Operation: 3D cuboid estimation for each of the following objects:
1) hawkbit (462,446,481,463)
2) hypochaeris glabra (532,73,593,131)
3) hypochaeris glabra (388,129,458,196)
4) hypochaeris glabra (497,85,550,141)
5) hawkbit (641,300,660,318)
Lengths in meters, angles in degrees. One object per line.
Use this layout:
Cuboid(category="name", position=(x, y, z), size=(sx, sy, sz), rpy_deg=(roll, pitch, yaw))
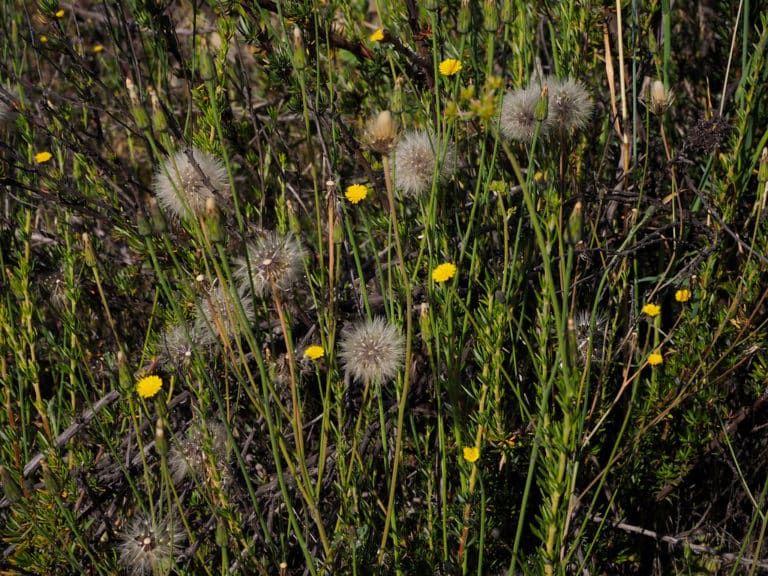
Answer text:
Cuboid(category="hawkbit", position=(0.309, 0.597, 3.109), size=(0.056, 0.076, 0.049), rpy_deg=(-6, 19, -3))
Cuboid(category="hypochaeris glabra", position=(0.698, -0.701, 3.418), size=(0.195, 0.302, 0.115), rpy_deg=(-5, -4, -4))
Cuboid(category="hypochaeris glabra", position=(0.123, -0.505, 3.247), size=(0.196, 0.257, 0.104), rpy_deg=(-23, -16, 6))
Cuboid(category="hypochaeris glabra", position=(0.531, -0.668, 3.406), size=(0.144, 0.209, 0.219), rpy_deg=(2, 22, 17))
Cuboid(category="hawkbit", position=(0.985, 0.083, 3.259), size=(0.052, 0.037, 0.054), rpy_deg=(32, 28, 30))
